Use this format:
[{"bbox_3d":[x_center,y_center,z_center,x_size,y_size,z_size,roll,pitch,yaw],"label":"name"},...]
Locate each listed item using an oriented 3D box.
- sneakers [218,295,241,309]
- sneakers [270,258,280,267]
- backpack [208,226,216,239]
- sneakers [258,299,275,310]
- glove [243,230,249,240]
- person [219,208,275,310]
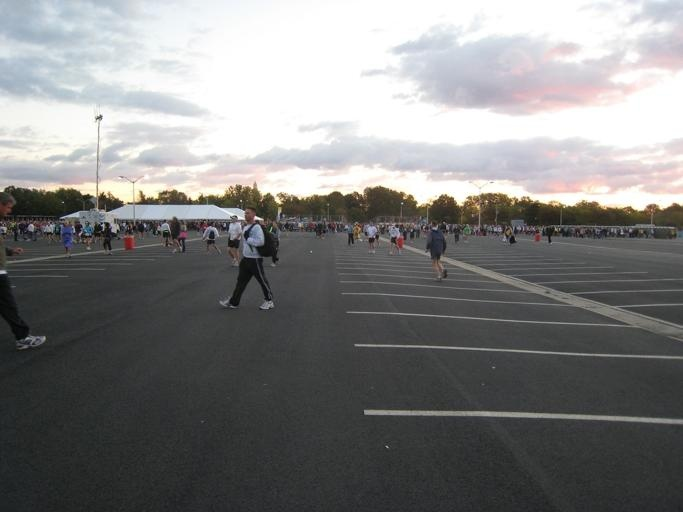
[{"bbox_3d":[-2.311,0.953,10.512,0.335,0.170,0.229,13,1,-12],"label":"sneakers"},{"bbox_3d":[-2.700,0.258,20.362,0.180,0.275,0.560,1,-3,7],"label":"sneakers"},{"bbox_3d":[-6.234,-1.116,24.629,0.263,0.534,0.503,4,14,10],"label":"backpack"},{"bbox_3d":[-1.529,0.995,10.571,0.283,0.216,0.136,-1,5,-12],"label":"sneakers"},{"bbox_3d":[-1.914,-0.418,10.354,0.105,0.165,0.041,11,-7,35],"label":"glove"},{"bbox_3d":[-1.958,0.024,10.949,0.975,2.084,1.528,0,7,-12],"label":"person"}]
